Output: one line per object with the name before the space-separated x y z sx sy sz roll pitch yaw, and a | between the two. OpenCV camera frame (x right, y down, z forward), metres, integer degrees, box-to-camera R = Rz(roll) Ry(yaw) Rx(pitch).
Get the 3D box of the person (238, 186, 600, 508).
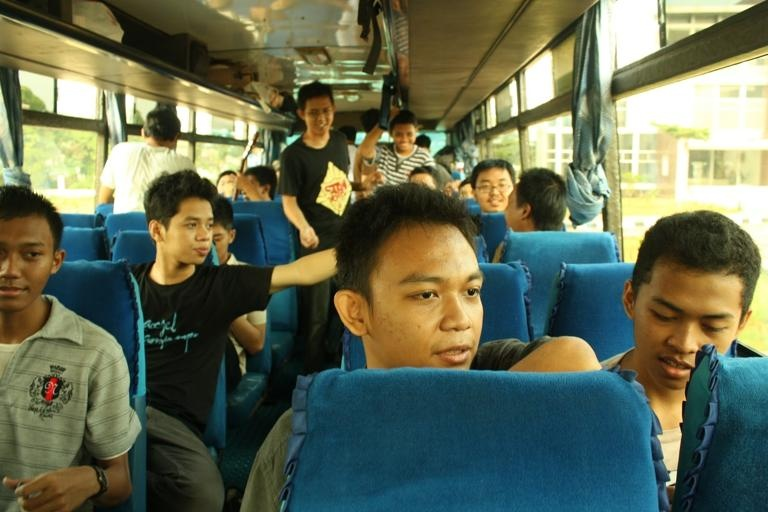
person | 0.096 0.263 2.478 1.134 1.032 0.597 0 4 -12
